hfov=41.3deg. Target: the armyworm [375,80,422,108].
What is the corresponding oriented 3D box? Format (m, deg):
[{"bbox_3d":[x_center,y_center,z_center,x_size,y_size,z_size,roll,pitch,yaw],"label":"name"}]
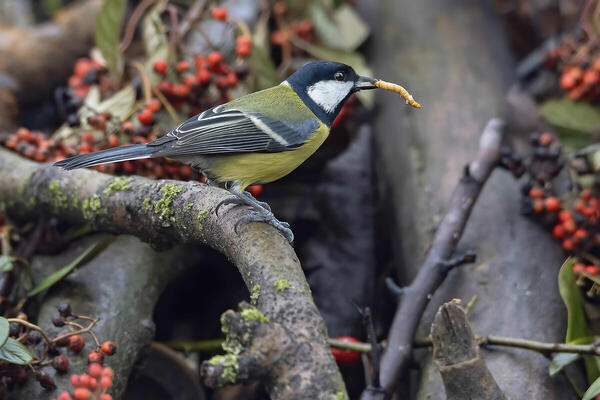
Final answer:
[{"bbox_3d":[0.576,-0.650,4.739,0.091,0.116,0.342,-31,45,-28],"label":"armyworm"}]
